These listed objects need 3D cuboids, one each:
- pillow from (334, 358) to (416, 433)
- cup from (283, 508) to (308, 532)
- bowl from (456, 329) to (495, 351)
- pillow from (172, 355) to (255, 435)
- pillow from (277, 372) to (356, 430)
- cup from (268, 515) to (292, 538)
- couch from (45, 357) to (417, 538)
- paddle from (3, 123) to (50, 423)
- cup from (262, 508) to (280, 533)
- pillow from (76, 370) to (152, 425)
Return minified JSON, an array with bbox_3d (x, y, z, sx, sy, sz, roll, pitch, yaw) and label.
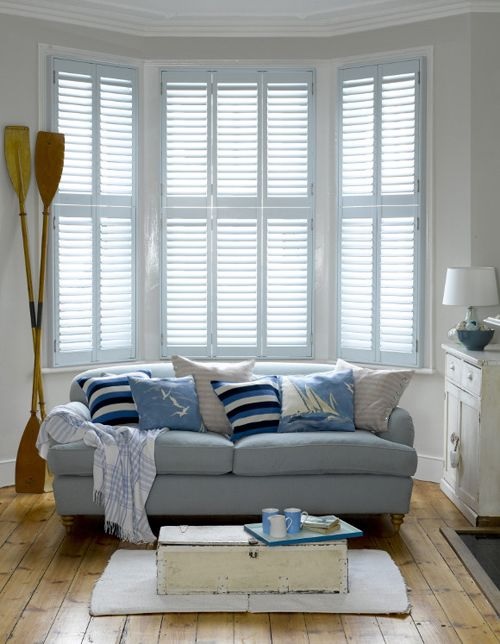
[{"bbox_3d":[0.661,0.400,3.149,0.342,0.359,0.108,3,-21,22],"label":"pillow"},{"bbox_3d":[0.170,0.722,2.209,0.094,0.090,0.062,4,-11,-29],"label":"cup"},{"bbox_3d":[1.200,0.088,3.167,0.130,0.079,0.134,1,-2,0],"label":"bowl"},{"bbox_3d":[-0.192,0.396,3.118,0.346,0.415,0.158,0,-32,-15],"label":"pillow"},{"bbox_3d":[0.345,0.413,3.044,0.237,0.226,0.093,-4,-35,4],"label":"pillow"},{"bbox_3d":[0.105,0.713,2.104,0.068,0.064,0.052,5,-10,-25],"label":"cup"},{"bbox_3d":[-0.041,0.635,3.005,1.682,0.715,0.635,0,-1,-1],"label":"couch"},{"bbox_3d":[-1.332,-0.248,3.518,0.196,1.918,0.070,-2,5,-14],"label":"paddle"},{"bbox_3d":[0.081,0.721,2.172,0.050,0.079,0.077,0,-9,1],"label":"cup"},{"bbox_3d":[-0.724,0.404,3.101,0.403,0.349,0.210,-11,2,-18],"label":"pillow"}]
